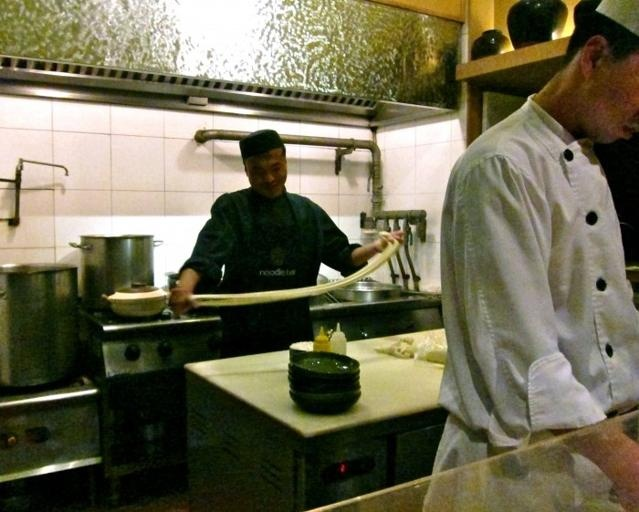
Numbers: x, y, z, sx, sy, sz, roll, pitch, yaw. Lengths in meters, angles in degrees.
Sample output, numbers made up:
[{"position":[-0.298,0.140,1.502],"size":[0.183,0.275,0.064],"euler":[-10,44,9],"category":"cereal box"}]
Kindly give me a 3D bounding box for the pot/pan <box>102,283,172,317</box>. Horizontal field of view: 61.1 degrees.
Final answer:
[{"position":[-1.019,0.232,3.026],"size":[0.341,0.146,0.401],"euler":[4,6,37],"category":"pot/pan"}]

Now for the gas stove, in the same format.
[{"position":[-1.006,0.511,3.242],"size":[0.718,0.454,0.685],"euler":[0,11,-37],"category":"gas stove"}]

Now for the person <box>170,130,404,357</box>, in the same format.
[{"position":[-0.192,0.114,2.916],"size":[0.957,1.431,0.715],"euler":[3,28,1],"category":"person"}]

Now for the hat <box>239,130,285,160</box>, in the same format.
[{"position":[-0.292,-0.573,2.773],"size":[0.213,0.149,0.127],"euler":[-1,-1,-4],"category":"hat"}]
